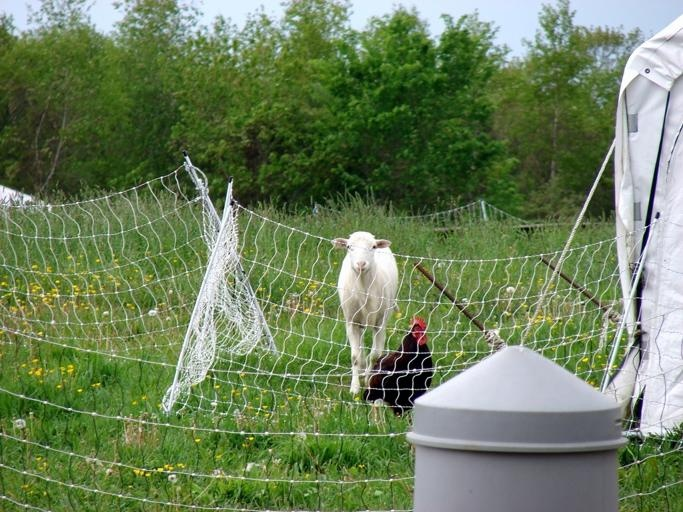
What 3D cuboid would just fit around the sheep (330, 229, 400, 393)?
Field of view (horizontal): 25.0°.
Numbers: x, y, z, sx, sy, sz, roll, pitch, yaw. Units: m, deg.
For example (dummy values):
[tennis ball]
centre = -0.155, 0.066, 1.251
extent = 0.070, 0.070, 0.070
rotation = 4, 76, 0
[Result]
[sheep]
centre = 0.676, 1.668, 41.883
extent = 2.070, 4.496, 1.822
rotation = 1, 2, 0
